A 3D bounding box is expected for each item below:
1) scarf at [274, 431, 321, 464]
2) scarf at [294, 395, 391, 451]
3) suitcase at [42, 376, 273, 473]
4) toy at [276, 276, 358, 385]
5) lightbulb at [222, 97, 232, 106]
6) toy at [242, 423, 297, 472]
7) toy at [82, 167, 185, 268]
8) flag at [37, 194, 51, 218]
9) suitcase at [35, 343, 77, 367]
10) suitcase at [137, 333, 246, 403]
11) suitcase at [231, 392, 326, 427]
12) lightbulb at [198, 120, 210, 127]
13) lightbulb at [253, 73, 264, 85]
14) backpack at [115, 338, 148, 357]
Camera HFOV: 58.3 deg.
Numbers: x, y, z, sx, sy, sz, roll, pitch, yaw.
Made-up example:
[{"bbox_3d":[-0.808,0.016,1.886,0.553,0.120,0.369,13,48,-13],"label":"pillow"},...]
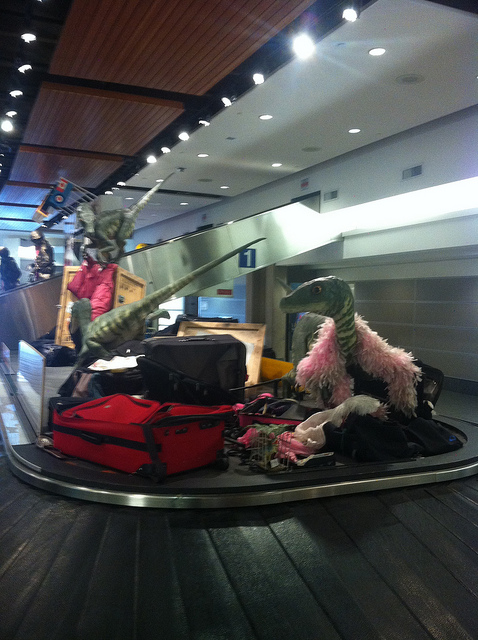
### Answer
[{"bbox_3d":[0.333,0.843,2.552,0.196,0.057,0.165,4,-2,-18],"label":"scarf"},{"bbox_3d":[0.612,0.702,2.719,0.561,0.195,0.312,-28,12,5],"label":"scarf"},{"bbox_3d":[-0.594,0.604,2.539,1.105,0.396,0.759,3,2,44],"label":"suitcase"},{"bbox_3d":[0.458,0.099,3.633,0.515,0.892,1.381,-2,-8,-15],"label":"toy"},{"bbox_3d":[-0.143,-2.563,4.853,0.093,0.085,0.188,5,4,10],"label":"lightbulb"},{"bbox_3d":[0.174,0.838,2.525,0.228,0.180,0.228,-9,-11,41],"label":"toy"},{"bbox_3d":[-1.508,-1.363,6.035,1.101,1.338,0.800,7,13,42],"label":"toy"},{"bbox_3d":[-4.227,-2.512,9.325,0.248,0.295,1.572,3,4,-25],"label":"flag"},{"bbox_3d":[-2.663,0.630,6.351,0.431,0.186,0.525,4,1,-25],"label":"suitcase"},{"bbox_3d":[-0.386,0.507,3.721,0.902,0.536,0.485,1,4,-23],"label":"suitcase"},{"bbox_3d":[0.253,0.769,3.230,0.568,0.160,0.316,0,-10,13],"label":"suitcase"},{"bbox_3d":[-0.437,-2.589,5.422,0.124,0.032,0.071,30,-27,8],"label":"lightbulb"},{"bbox_3d":[0.194,-2.554,4.392,0.104,0.071,0.181,4,4,1],"label":"lightbulb"},{"bbox_3d":[-1.125,0.333,4.552,0.380,0.122,0.294,-2,-3,35],"label":"backpack"}]
